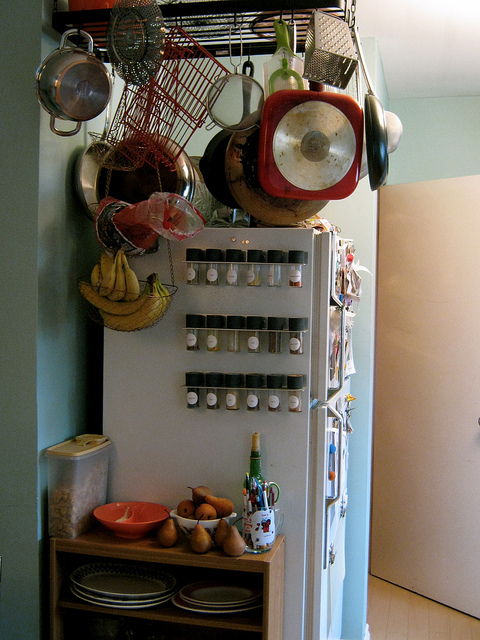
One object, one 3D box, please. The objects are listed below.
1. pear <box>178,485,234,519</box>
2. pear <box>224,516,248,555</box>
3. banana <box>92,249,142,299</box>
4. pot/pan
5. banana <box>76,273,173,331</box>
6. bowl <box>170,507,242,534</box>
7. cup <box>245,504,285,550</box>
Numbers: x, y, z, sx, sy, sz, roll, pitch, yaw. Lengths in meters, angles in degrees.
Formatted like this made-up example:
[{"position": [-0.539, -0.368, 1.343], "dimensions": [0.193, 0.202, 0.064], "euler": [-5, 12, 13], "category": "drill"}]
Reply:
[{"position": [-0.099, 0.524, 1.829], "dimensions": [0.118, 0.064, 0.088], "euler": [8, -13, -10], "category": "pear"}, {"position": [-0.016, 0.604, 1.712], "dimensions": [0.063, 0.077, 0.073], "euler": [-1, 3, 8], "category": "pear"}, {"position": [-0.351, -0.138, 1.764], "dimensions": [0.108, 0.158, 0.073], "euler": [-11, 29, -34], "category": "banana"}, {"position": [-0.143, -0.569, 1.656], "dimensions": [0.974, 0.509, 0.223], "euler": [15, 19, 29], "category": "pot/pan"}, {"position": [-0.358, -0.069, 1.814], "dimensions": [0.272, 0.178, 0.092], "euler": [12, -13, -29], "category": "banana"}, {"position": [-0.106, 0.570, 1.789], "dimensions": [0.092, 0.038, 0.099], "euler": [-1, -6, 0], "category": "bowl"}, {"position": [0.058, 0.586, 1.782], "dimensions": [0.116, 0.113, 0.078], "euler": [1, -4, -44], "category": "cup"}]
